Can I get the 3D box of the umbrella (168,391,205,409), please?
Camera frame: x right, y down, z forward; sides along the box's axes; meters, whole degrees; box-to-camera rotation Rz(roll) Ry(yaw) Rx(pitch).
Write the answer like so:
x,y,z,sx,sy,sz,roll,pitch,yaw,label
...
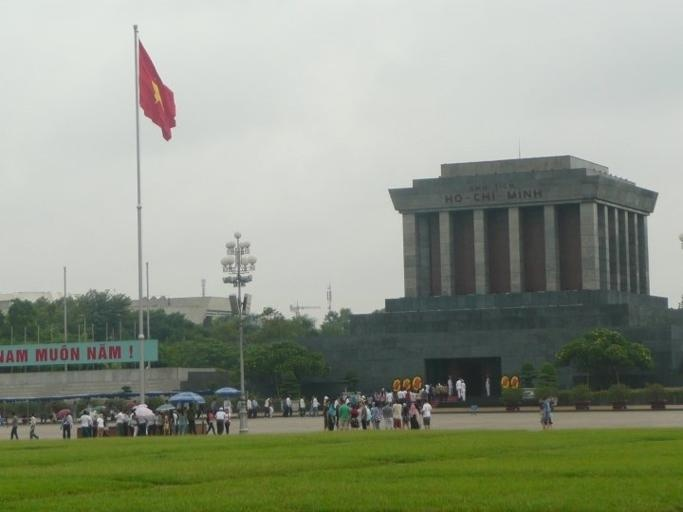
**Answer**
x,y,z,sx,sy,sz,roll,pitch,yaw,label
-11.153,10.383,106.637,2.603,0.908,2.613,7,-11,-25,umbrella
